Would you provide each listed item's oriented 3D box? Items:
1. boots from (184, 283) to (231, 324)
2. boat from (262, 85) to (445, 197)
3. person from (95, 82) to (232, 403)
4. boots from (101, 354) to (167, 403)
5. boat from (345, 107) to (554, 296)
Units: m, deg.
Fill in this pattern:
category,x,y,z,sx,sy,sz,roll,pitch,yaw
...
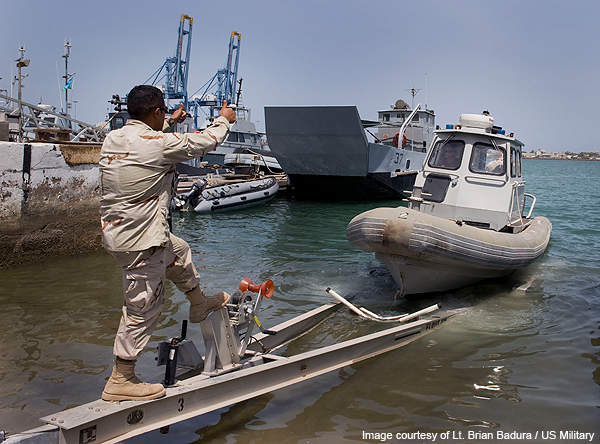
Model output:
category,x,y,z,sx,sy,sz,roll,pitch,yaw
boots,-0.809,0.625,3.916,0.199,0.283,0.498,5,18,28
boat,3.384,-3.685,20.879,4.432,3.097,11.699,19,20,25
person,-1.087,0.244,3.419,0.809,1.962,1.032,5,17,18
boots,-1.165,1.134,3.370,0.541,0.281,0.183,-7,-11,21
boat,2.436,-0.327,7.013,2.029,2.615,3.159,10,17,33
